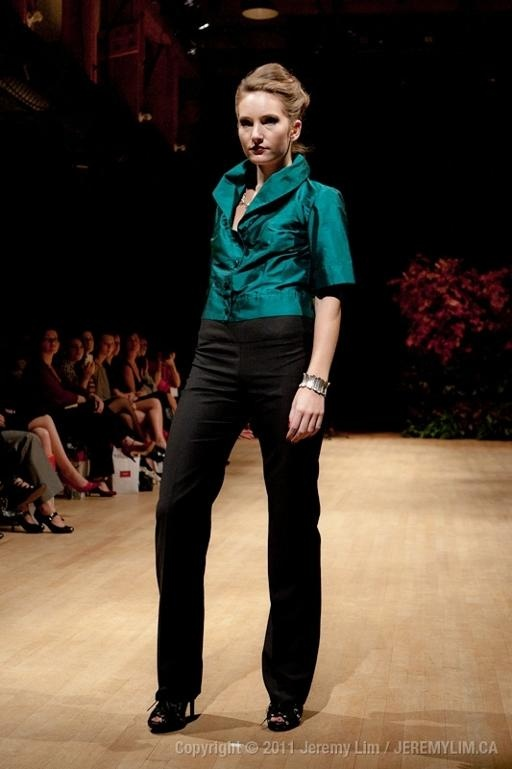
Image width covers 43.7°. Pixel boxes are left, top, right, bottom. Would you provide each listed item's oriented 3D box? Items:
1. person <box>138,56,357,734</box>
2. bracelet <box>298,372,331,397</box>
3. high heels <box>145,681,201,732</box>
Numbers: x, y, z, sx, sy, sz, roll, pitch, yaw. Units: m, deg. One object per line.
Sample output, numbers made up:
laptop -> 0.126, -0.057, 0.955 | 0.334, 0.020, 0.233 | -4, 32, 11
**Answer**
person -> -0.006, 0.075, 1.224 | 0.347, 1.330, 0.312 | 3, 12, 5
bracelet -> 0.101, 0.003, 1.130 | 0.040, 0.030, 0.047 | 26, -18, -26
high heels -> -0.161, 0.628, 1.269 | 0.061, 0.069, 0.144 | -4, -9, 18
